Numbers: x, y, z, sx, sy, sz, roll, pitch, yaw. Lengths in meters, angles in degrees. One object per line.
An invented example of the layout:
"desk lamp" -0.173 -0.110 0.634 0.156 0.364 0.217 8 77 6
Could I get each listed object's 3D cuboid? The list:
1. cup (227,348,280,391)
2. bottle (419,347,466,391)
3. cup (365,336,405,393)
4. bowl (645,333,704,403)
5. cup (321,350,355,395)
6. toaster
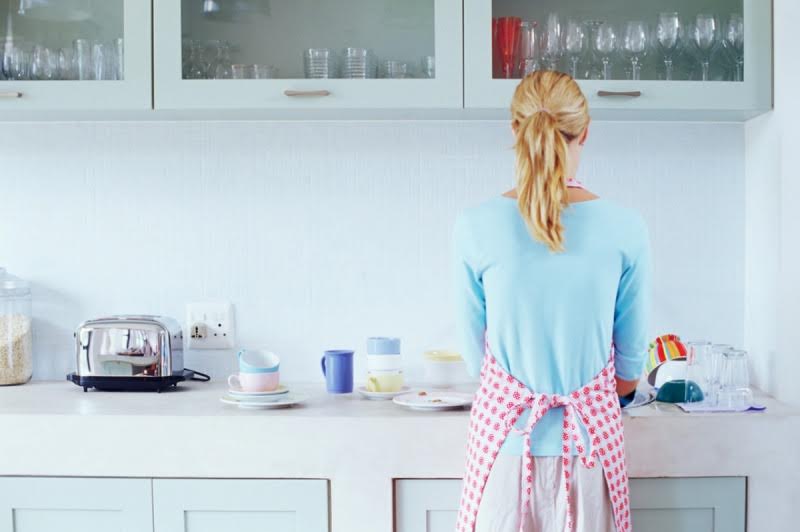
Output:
"cup" -0.483 0.345 2.838 0.117 0.117 0.169 0 -3 -8
"bottle" 0.147 0.349 2.945 0.147 0.096 0.143 0 -3 0
"cup" -0.055 0.332 2.858 0.165 0.214 0.155 -1 -7 0
"bowl" 0.901 0.348 2.829 0.141 0.185 0.188 1 -13 -4
"cup" -0.190 0.365 2.906 0.139 0.135 0.113 0 -2 0
"toaster" -0.943 0.295 3.011 0.461 0.243 0.240 1 1 0
